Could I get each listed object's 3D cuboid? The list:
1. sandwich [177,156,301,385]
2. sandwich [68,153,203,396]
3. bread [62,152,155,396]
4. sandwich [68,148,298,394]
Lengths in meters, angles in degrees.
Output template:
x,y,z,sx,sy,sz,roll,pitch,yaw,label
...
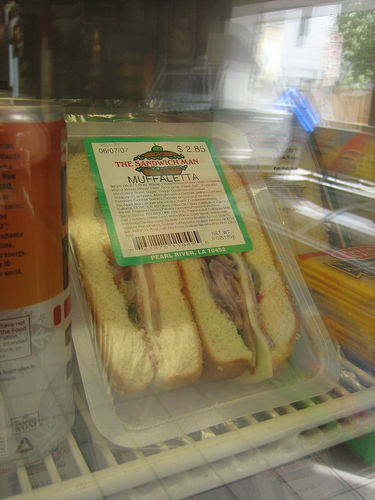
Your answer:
x,y,z,sx,sy,sz,roll,pitch,yaw,label
0.097,0.074,0.708,0.187,0.117,0.375,-25,31,8,sandwich
-0.091,0.031,0.594,0.152,0.072,0.331,-8,67,-26,sandwich
-0.118,0.018,0.563,0.071,0.255,0.276,-7,28,-26,bread
-0.060,0.018,0.637,0.357,0.409,0.095,8,-22,-41,sandwich
